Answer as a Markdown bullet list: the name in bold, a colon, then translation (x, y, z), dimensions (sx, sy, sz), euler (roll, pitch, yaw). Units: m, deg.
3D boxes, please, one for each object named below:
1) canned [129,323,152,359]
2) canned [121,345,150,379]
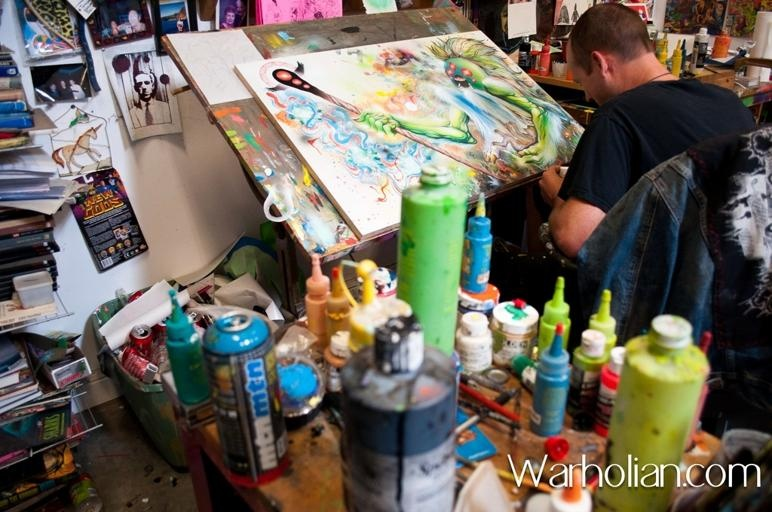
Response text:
- **canned**: translation (-1.016, 0.356, 2.140), dimensions (0.070, 0.121, 0.072), euler (23, 34, 12)
- **canned**: translation (-1.018, 0.436, 2.105), dimensions (0.064, 0.066, 0.114), euler (-36, 64, -23)
